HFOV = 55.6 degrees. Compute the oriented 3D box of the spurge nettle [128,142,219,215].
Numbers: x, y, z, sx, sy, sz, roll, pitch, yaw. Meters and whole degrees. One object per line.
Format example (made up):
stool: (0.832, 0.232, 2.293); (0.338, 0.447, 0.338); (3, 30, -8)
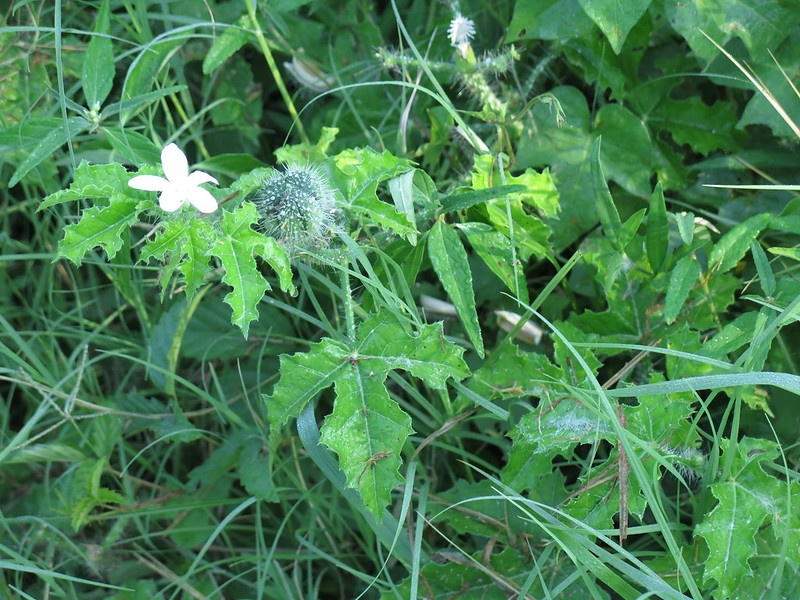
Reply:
spurge nettle: (-0.604, -0.366, 2.092); (0.182, 0.067, 0.140); (41, 47, 6)
